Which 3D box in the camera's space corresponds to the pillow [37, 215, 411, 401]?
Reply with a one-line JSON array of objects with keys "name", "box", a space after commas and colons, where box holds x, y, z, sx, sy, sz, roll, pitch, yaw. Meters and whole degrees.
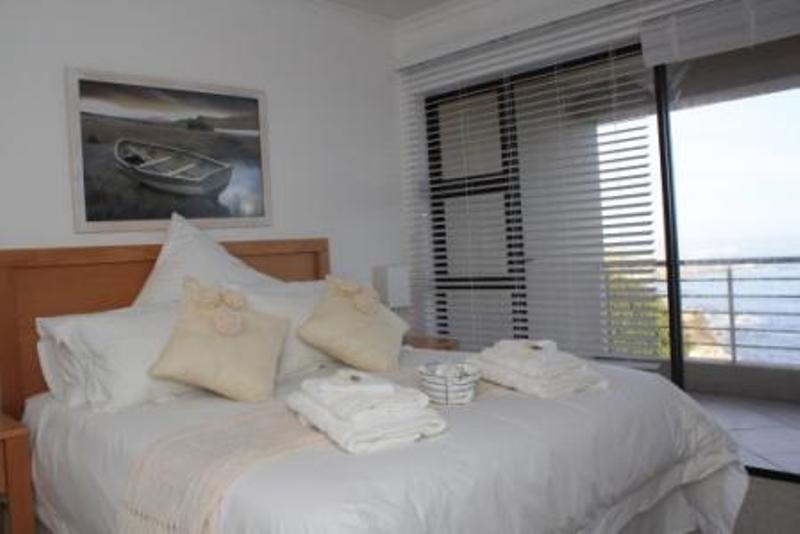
[{"name": "pillow", "box": [-1.332, 0.230, 3.327, 1.508, 1.034, 0.793, -1, 1, -31]}]

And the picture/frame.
[{"name": "picture/frame", "box": [-1.648, -0.799, 3.747, 1.432, 0.887, 0.051, -5, 3, -35]}]
